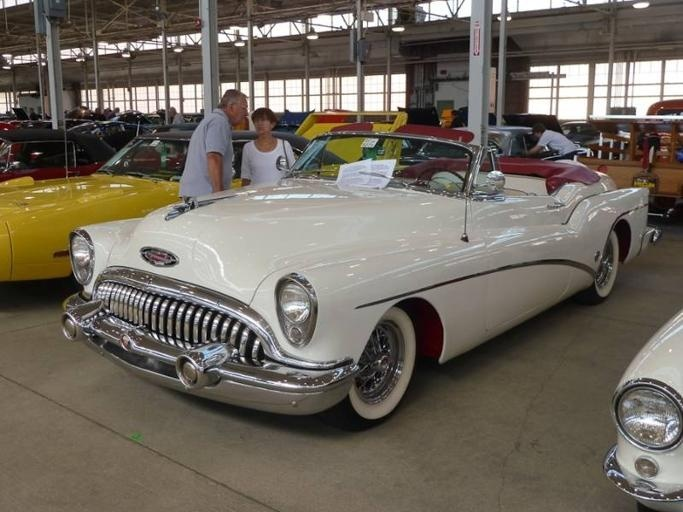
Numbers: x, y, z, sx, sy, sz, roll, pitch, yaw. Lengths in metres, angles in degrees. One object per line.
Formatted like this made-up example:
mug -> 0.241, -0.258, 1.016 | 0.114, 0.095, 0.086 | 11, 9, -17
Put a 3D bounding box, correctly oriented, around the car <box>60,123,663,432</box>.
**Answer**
car -> 0.646, 0.044, 3.594 | 4.195, 1.124, 1.867 | -6, 9, -43
